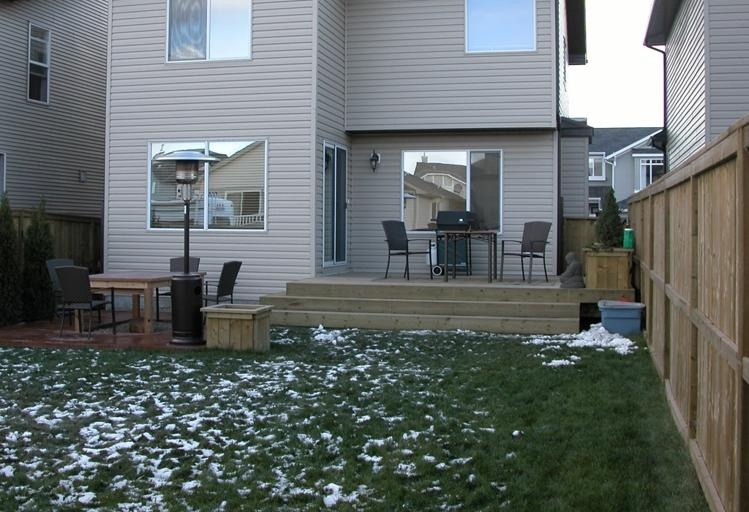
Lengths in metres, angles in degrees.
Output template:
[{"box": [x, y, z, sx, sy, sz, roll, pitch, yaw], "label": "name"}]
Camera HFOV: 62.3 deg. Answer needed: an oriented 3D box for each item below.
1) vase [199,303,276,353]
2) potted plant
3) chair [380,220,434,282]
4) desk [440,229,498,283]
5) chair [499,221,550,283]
[{"box": [-1.898, 0.979, 8.622, 0.831, 0.544, 0.595, 0, 2, 13], "label": "vase"}, {"box": [3.812, -0.287, 10.032, 0.947, 1.526, 0.903, -6, 8, -31], "label": "potted plant"}, {"box": [0.599, -0.171, 11.622, 0.837, 1.072, 0.773, -5, 5, -26], "label": "chair"}, {"box": [1.744, -0.046, 11.380, 1.151, 0.868, 1.144, -2, 8, -14], "label": "desk"}, {"box": [2.808, -0.101, 11.479, 0.921, 1.051, 2.237, -1, 0, 15], "label": "chair"}]
